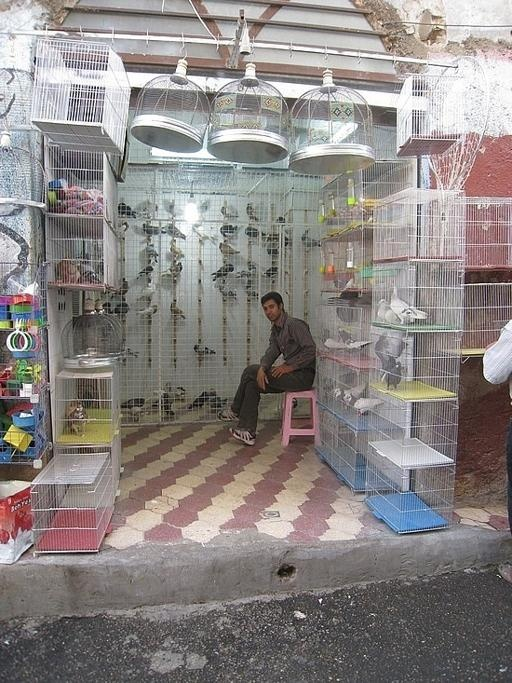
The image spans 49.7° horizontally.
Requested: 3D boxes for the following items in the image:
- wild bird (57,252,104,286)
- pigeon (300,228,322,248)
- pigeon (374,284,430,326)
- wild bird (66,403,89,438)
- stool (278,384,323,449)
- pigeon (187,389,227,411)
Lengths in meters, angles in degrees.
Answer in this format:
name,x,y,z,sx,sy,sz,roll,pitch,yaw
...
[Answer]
name,x,y,z,sx,sy,sz,roll,pitch,yaw
wild bird,-0.984,-0.394,3.075,0.254,0.146,0.076,-4,15,-17
pigeon,0.526,-1.003,5.362,0.159,0.172,0.070,6,16,20
pigeon,0.761,-0.181,2.994,0.286,0.238,0.146,5,2,41
wild bird,-1.067,0.453,3.289,0.116,0.155,0.317,-4,15,-19
stool,0.350,0.633,4.785,0.438,0.518,0.415,-1,6,-3
pigeon,-0.510,0.564,5.399,0.441,0.183,0.143,2,-1,-12
